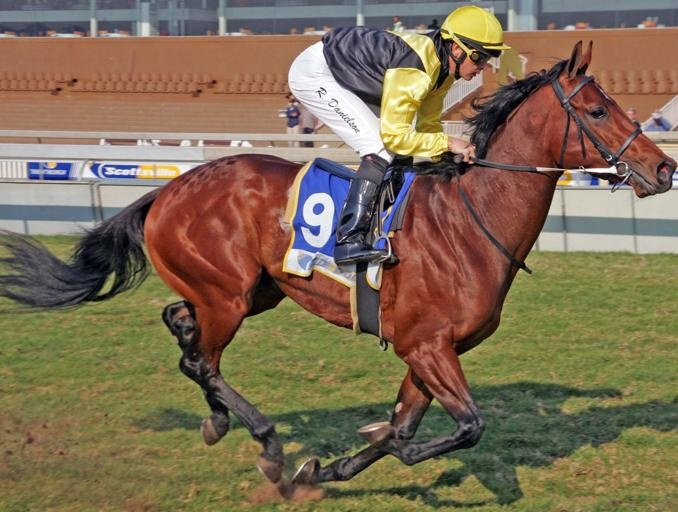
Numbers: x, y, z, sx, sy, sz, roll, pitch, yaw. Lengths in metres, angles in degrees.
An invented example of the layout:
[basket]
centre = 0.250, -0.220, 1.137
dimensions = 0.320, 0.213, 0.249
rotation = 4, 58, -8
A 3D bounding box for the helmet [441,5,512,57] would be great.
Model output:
[helmet]
centre = 0.890, -1.432, 5.961
dimensions = 0.538, 0.200, 0.315
rotation = 8, 17, 15

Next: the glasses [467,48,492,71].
[glasses]
centre = 0.882, -1.232, 5.945
dimensions = 0.184, 0.073, 0.127
rotation = 23, 6, 20

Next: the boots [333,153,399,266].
[boots]
centre = 0.139, -0.288, 5.886
dimensions = 0.332, 0.681, 0.349
rotation = 0, 11, 0
